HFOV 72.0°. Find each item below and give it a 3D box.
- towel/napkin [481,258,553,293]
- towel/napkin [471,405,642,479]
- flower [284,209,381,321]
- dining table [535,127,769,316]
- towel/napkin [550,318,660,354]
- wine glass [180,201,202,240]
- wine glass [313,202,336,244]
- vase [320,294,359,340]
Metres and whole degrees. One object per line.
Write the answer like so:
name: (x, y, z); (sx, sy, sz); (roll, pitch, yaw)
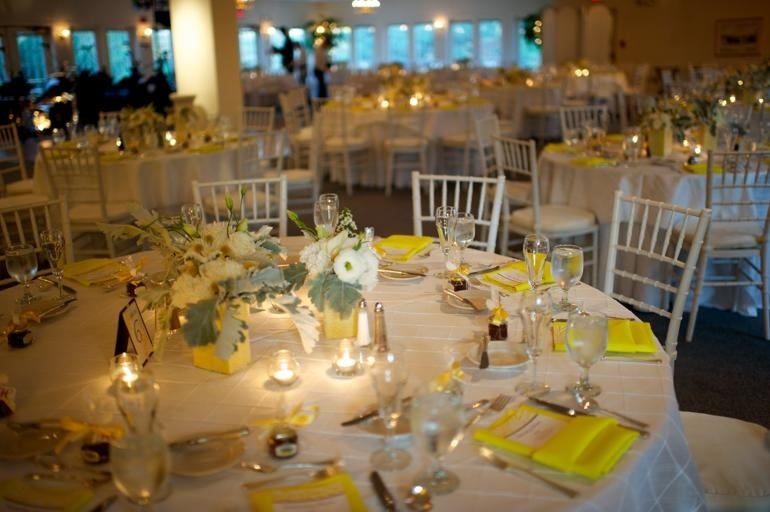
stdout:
towel/napkin: (0.534, 0.086, 2.201); (0.172, 0.038, 0.180); (-11, 20, -30)
towel/napkin: (0.447, 0.475, 1.380); (0.390, 0.081, 0.209); (3, 14, 26)
flower: (-0.206, 0.044, 1.856); (0.300, 0.384, 0.378); (8, 18, 24)
dining table: (2.109, -0.314, 4.347); (1.333, 0.995, 1.324); (-4, 13, -45)
towel/napkin: (0.753, 0.268, 1.746); (0.171, 0.027, 0.182); (0, 16, 9)
wine glass: (-0.774, -0.133, 2.143); (0.089, 0.150, 0.092); (-4, -1, -10)
wine glass: (-0.237, -0.140, 2.136); (0.100, 0.139, 0.100); (-10, -2, 12)
vase: (-0.190, 0.221, 1.907); (0.185, 0.136, 0.184); (1, 0, 4)
